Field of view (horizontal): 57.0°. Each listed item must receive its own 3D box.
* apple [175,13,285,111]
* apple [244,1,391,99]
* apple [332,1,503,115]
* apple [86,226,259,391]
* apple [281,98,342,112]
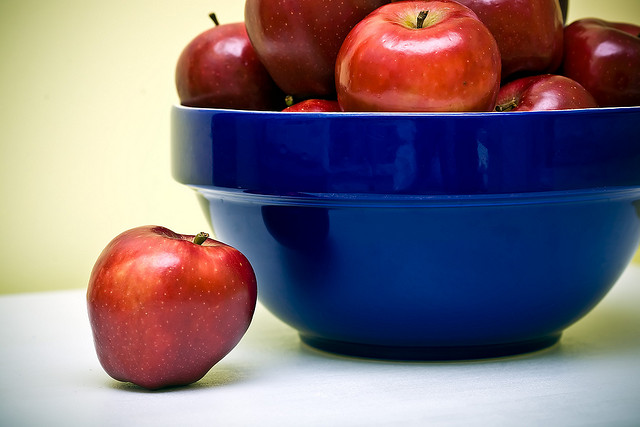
[{"bbox_3d":[-0.144,-0.230,0.910,0.126,0.147,0.132,4,15,38],"label":"apple"},{"bbox_3d":[-0.020,-0.226,0.862,0.138,0.152,0.142,1,3,9],"label":"apple"},{"bbox_3d":[0.118,-0.192,0.703,0.160,0.143,0.139,-6,9,-32],"label":"apple"},{"bbox_3d":[-0.179,0.118,0.726,0.188,0.200,0.193,1,5,-39],"label":"apple"},{"bbox_3d":[-0.007,-0.143,0.777,0.057,0.020,0.028,-9,3,-21],"label":"apple"}]
